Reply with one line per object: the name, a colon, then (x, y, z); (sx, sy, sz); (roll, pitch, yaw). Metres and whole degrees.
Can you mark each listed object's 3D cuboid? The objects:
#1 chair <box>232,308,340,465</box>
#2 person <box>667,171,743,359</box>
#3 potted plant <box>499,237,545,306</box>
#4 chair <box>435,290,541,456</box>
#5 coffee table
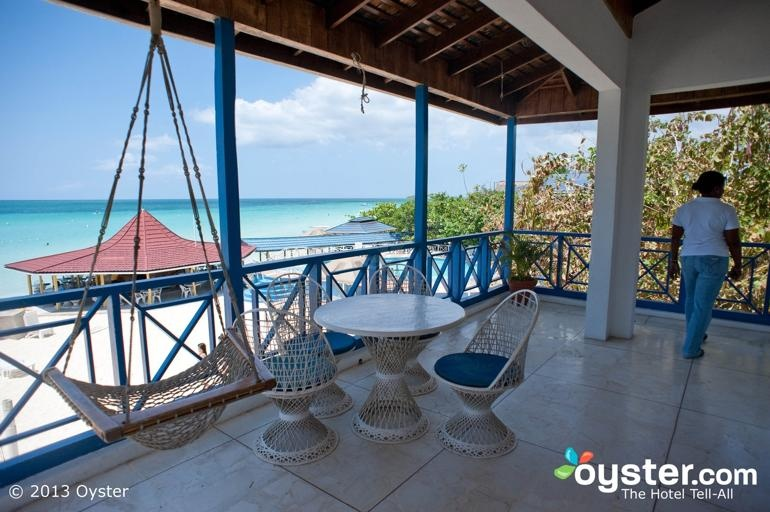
chair: (-0.829, 1.144, 4.517); (0.788, 1.234, 0.833); (-5, -4, 15)
person: (3.625, 0.118, 5.583); (0.678, 2.129, 0.363); (5, 11, 33)
potted plant: (2.194, 0.268, 7.678); (0.789, 1.094, 0.864); (2, -2, -1)
chair: (0.882, 1.003, 4.442); (0.923, 1.351, 0.835); (-2, 9, -8)
coffee table: (-0.032, 1.140, 4.639); (1.188, 0.894, 1.162); (5, -14, -13)
